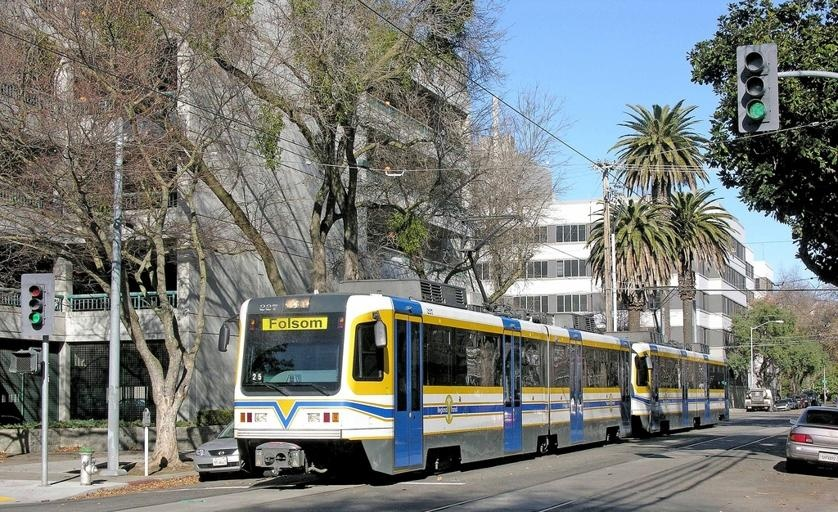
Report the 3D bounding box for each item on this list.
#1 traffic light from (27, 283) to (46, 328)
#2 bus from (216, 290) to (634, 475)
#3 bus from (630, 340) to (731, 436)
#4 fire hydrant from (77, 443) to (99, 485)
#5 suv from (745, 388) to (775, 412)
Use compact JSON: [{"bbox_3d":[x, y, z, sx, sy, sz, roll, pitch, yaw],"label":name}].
[{"bbox_3d":[-12.806,1.662,33.287,0.452,1.448,0.279,0,-8,-12],"label":"traffic light"},{"bbox_3d":[2.490,5.067,37.815,4.566,5.537,21.485,-9,-13,37],"label":"bus"},{"bbox_3d":[14.078,7.256,54.673,3.128,4.397,16.921,-3,-8,30],"label":"bus"},{"bbox_3d":[-11.295,7.055,33.788,0.372,1.255,0.554,1,-9,-14],"label":"fire hydrant"},{"bbox_3d":[33.578,13.997,98.024,2.408,2.286,2.940,-4,-10,14],"label":"suv"}]
